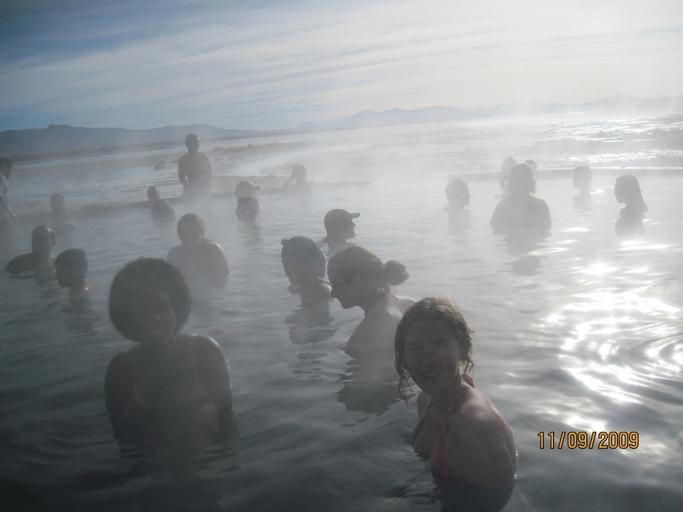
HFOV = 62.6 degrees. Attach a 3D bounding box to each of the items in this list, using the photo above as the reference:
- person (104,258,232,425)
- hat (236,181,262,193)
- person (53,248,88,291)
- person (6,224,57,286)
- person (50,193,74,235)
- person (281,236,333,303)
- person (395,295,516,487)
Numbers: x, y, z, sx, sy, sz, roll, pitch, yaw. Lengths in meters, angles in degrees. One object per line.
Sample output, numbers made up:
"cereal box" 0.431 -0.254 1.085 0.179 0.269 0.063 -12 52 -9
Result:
"person" -1.469 0.737 4.709 0.986 1.457 0.354 -5 10 -22
"hat" -2.510 -1.839 14.829 0.975 0.331 0.578 -2 6 -7
"person" -4.355 0.232 9.107 0.461 0.696 0.340 -6 10 -24
"person" -5.880 -0.097 10.770 0.863 0.880 1.063 -8 10 -36
"person" -7.404 -1.109 14.917 0.823 1.054 0.301 -3 9 -16
"person" -0.462 0.197 7.610 0.608 0.930 0.449 -2 9 -2
"person" 0.832 1.006 4.241 0.486 1.318 0.933 -9 11 -36
